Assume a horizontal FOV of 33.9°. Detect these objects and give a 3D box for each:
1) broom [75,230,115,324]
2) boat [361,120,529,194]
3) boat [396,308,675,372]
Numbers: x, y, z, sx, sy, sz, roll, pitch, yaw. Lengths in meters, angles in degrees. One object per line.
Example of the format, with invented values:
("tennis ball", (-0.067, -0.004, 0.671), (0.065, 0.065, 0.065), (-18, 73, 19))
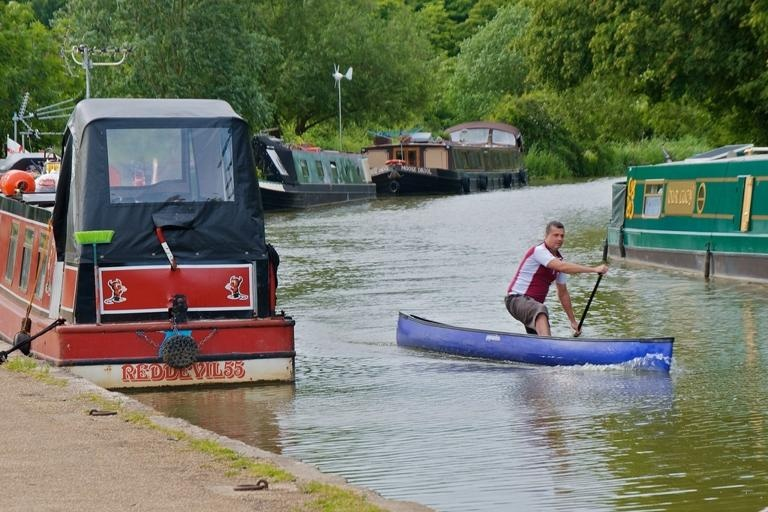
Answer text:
("broom", (-4.563, 0.343, 20.023), (0.531, 1.540, 0.557), (0, -1, -17))
("boat", (3.396, -5.504, 70.544), (11.981, 4.022, 3.339), (0, -10, -3))
("boat", (2.437, 1.518, 22.444), (6.279, 0.831, 1.295), (3, -7, 45))
